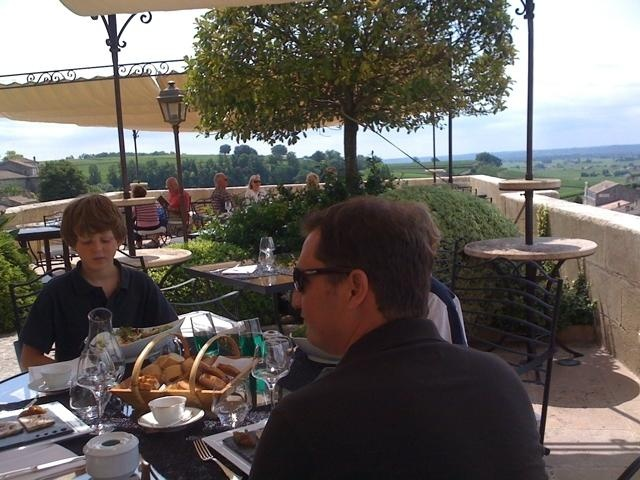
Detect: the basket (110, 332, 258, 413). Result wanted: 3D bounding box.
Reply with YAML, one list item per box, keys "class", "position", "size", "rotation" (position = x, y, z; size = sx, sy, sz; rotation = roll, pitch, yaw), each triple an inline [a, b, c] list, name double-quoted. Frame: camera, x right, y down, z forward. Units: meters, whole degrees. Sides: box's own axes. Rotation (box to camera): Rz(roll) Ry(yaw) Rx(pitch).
- class: "basket"
  position: [-0.526, 0.443, 2.116]
  size: [0.324, 0.197, 0.403]
  rotation: [3, 11, 14]

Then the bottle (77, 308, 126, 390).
- class: "bottle"
  position: [-0.917, 0.463, 2.157]
  size: [0.163, 0.358, 0.158]
  rotation: [-8, -27, -4]

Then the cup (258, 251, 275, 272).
- class: "cup"
  position: [-0.479, 0.197, 4.597]
  size: [0.166, 0.235, 0.164]
  rotation: [0, -1, 0]

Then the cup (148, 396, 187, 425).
- class: "cup"
  position: [-0.558, 0.615, 1.870]
  size: [0.097, 0.068, 0.099]
  rotation: [-1, -3, 0]

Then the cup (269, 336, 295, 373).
- class: "cup"
  position: [-0.152, 0.458, 2.062]
  size: [0.087, 0.124, 0.126]
  rotation: [-3, -12, -2]

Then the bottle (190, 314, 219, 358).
- class: "bottle"
  position: [-0.554, 0.461, 2.460]
  size: [0.135, 0.218, 0.134]
  rotation: [-10, -16, -3]

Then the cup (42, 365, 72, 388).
- class: "cup"
  position: [-1.179, 0.609, 2.313]
  size: [0.092, 0.065, 0.089]
  rotation: [0, 3, 0]
